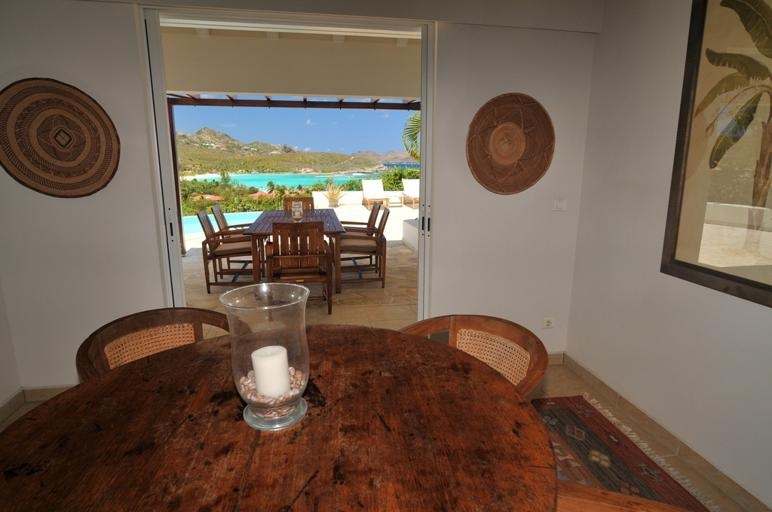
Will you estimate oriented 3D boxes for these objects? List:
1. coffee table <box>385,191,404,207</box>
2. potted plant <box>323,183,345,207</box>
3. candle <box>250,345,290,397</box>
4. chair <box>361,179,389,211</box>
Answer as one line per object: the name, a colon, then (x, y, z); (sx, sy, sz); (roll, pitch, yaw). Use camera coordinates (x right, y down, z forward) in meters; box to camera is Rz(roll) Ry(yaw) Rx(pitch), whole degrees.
coffee table: (0.231, -1.677, 12.800); (0.589, 0.358, 0.580); (0, 23, 3)
potted plant: (-1.473, -1.690, 12.319); (0.580, 0.713, 0.707); (0, 4, -10)
candle: (-0.407, 0.416, 1.662); (0.168, 0.187, 0.165); (-7, 18, -22)
chair: (-0.355, -1.799, 12.770); (0.709, 0.742, 1.128); (-4, 20, -9)
